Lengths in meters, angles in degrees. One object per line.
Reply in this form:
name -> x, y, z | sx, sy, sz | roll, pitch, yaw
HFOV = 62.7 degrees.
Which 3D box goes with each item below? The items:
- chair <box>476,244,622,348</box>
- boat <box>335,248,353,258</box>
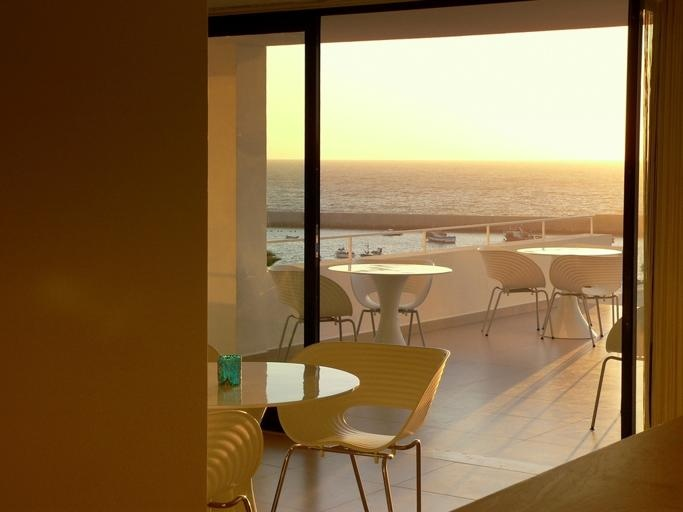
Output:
chair -> 2.968, 0.280, 7.099 | 1.411, 1.176, 1.288 | 2, 4, 35
boat -> -0.006, -0.125, 19.360 | 0.398, 0.405, 0.759 | -1, -3, 7
